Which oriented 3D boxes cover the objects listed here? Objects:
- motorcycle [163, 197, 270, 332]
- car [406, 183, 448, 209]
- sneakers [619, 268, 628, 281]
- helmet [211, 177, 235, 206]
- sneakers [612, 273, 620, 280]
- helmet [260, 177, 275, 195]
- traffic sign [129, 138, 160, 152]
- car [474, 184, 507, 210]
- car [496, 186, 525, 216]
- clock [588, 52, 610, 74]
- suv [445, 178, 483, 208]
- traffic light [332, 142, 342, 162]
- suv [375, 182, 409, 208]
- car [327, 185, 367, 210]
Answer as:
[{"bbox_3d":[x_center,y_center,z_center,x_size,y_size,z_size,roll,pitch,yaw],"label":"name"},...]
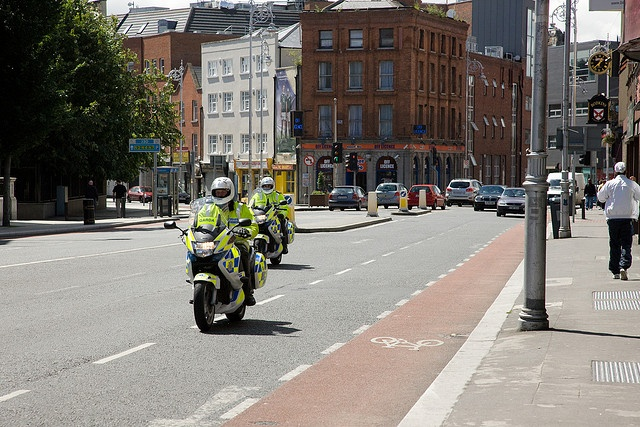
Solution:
[{"bbox_3d":[-1.616,0.823,12.918,0.728,1.810,1.130,0,0,42],"label":"motorcycle"},{"bbox_3d":[7.428,-1.155,55.911,1.347,1.288,2.539,-1,6,20],"label":"car"},{"bbox_3d":[6.219,1.255,16.519,0.095,0.114,0.284,1,-32,9],"label":"sneakers"},{"bbox_3d":[-1.627,-0.340,13.326,0.325,0.445,0.456,-1,-8,7],"label":"helmet"},{"bbox_3d":[6.140,1.293,16.729,0.121,0.068,0.212,-1,-1,5],"label":"sneakers"},{"bbox_3d":[-1.320,-0.677,19.895,0.291,0.382,0.414,0,-4,2],"label":"helmet"},{"bbox_3d":[-9.583,-3.640,43.667,1.680,0.643,0.682,-1,0,11],"label":"traffic sign"},{"bbox_3d":[10.795,-0.979,51.410,1.568,1.443,4.166,0,0,11],"label":"car"},{"bbox_3d":[10.535,-0.615,44.704,1.458,1.380,3.984,0,-2,11],"label":"car"},{"bbox_3d":[12.510,-6.761,36.081,0.693,1.066,1.509,-1,0,3],"label":"clock"},{"bbox_3d":[10.476,-1.417,59.040,2.046,1.909,4.734,0,4,17],"label":"suv"},{"bbox_3d":[0.977,-3.639,48.917,0.474,0.934,0.705,-1,0,-7],"label":"traffic light"},{"bbox_3d":[4.707,-1.283,55.464,1.201,1.200,2.253,1,6,14],"label":"suv"},{"bbox_3d":[1.704,-0.998,54.610,2.232,1.251,2.539,-1,0,4],"label":"car"}]
